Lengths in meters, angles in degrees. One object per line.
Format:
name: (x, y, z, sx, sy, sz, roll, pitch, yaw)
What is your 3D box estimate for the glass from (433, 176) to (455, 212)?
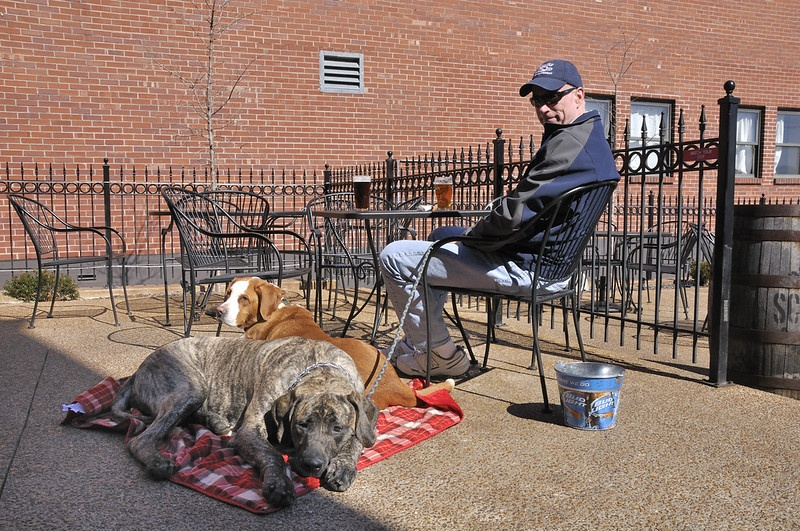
glass: (0.433, -0.711, 6.914, 0.213, 0.374, 0.218, 3, 5, 39)

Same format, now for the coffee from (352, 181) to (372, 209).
coffee: (-0.339, -0.653, 6.613, 0.200, 0.342, 0.211, 0, 0, -1)

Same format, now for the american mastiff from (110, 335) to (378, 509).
american mastiff: (-1.199, 0.998, 5.304, 1.968, 0.830, 1.525, 15, 13, 22)

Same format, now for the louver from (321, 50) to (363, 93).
louver: (-1.000, -3.390, 12.514, 0.729, 0.698, 0.101, 1, 5, -2)

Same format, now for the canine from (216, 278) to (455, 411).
canine: (-0.514, 0.676, 6.013, 2.180, 0.965, 0.921, -1, -3, 3)

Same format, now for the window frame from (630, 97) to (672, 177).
window frame: (5.121, -2.629, 14.689, 0.046, 1.566, 1.214, -7, 8, -36)
